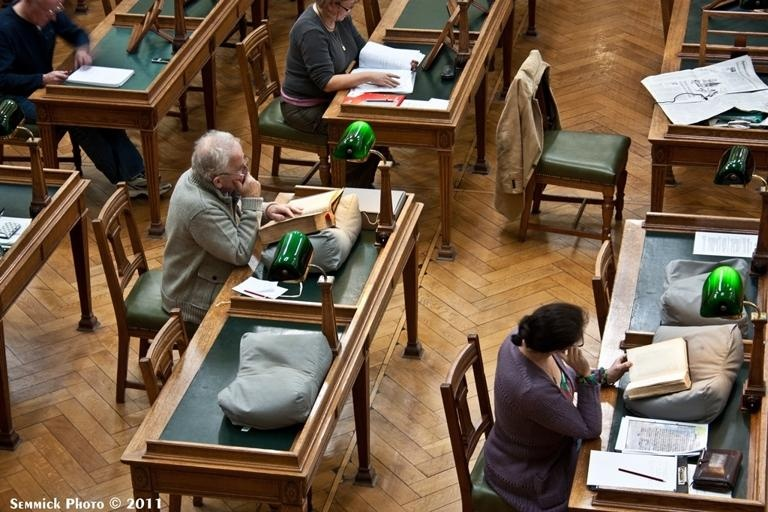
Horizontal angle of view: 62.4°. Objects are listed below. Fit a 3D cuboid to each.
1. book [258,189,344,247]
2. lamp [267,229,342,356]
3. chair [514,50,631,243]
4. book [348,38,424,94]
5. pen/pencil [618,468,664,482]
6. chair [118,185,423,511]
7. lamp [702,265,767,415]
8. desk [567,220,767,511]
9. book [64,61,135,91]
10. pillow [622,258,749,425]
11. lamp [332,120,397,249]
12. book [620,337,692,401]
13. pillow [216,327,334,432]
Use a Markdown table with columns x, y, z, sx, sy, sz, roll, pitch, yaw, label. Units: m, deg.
| x | y | z | sx | sy | sz | roll | pitch | yaw | label |
| --- | --- | --- | --- | --- | --- | --- | --- | --- | --- |
| -0.463 | -0.321 | 3.771 | 0.375 | 0.106 | 0.384 | -15 | 18 | 33 | book |
| -0.406 | 0.204 | 3.229 | 0.261 | 0.522 | 0.280 | 12 | 56 | 4 | lamp |
| 1.563 | -0.828 | 5.165 | 0.821 | 1.376 | 0.669 | 8 | 22 | 20 | chair |
| 0.046 | -1.511 | 5.502 | 0.485 | 0.185 | 0.701 | 3 | 44 | 10 | book |
| 1.073 | 0.915 | 2.659 | 0.183 | 0.011 | 0.024 | 10 | 23 | 22 | pen/pencil |
| -0.614 | 0.494 | 3.395 | 0.582 | 0.855 | 1.794 | 7 | 46 | 12 | chair |
| 1.615 | 0.413 | 2.946 | 0.316 | 0.672 | 0.218 | 9 | 47 | 19 | lamp |
| 1.371 | 0.532 | 3.014 | 0.640 | 0.514 | 1.698 | 1 | 57 | 10 | desk |
| -2.332 | -1.488 | 5.221 | 0.510 | 0.146 | 0.303 | 4 | 22 | 10 | book |
| 1.463 | 0.330 | 2.992 | 0.462 | 0.258 | 0.877 | 5 | 56 | 40 | pillow |
| -0.143 | -0.482 | 4.170 | 0.409 | 0.978 | 0.410 | 6 | 45 | 11 | lamp |
| 1.268 | 0.516 | 2.964 | 0.275 | 0.077 | 0.291 | -8 | 44 | 27 | book |
| -0.501 | 0.552 | 2.941 | 0.424 | 0.295 | 0.445 | 5 | 22 | 12 | pillow |
